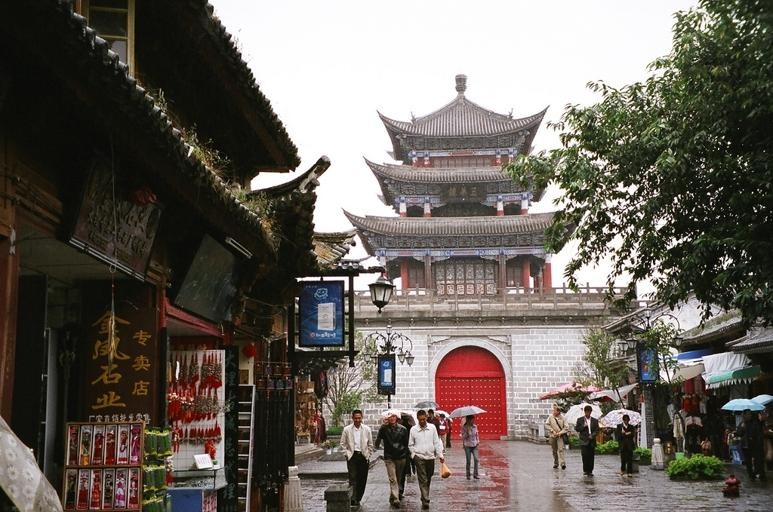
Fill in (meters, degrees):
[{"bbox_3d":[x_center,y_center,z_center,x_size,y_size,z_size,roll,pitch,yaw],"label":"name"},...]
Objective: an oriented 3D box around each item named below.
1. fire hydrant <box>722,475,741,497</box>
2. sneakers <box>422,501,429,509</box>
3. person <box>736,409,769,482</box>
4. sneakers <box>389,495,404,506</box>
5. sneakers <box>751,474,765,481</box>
[{"bbox_3d":[6.805,4.584,15.367,0.310,0.426,0.541,-9,-21,20],"label":"fire hydrant"},{"bbox_3d":[0.740,4.771,14.834,0.113,0.126,0.117,-4,-6,32],"label":"sneakers"},{"bbox_3d":[8.769,4.557,18.585,0.470,1.660,1.433,-12,-22,29],"label":"person"},{"bbox_3d":[0.184,4.838,15.306,0.131,0.158,0.416,-4,-10,-5],"label":"sneakers"},{"bbox_3d":[8.684,5.183,18.087,0.247,0.142,0.679,-11,-22,24],"label":"sneakers"}]
